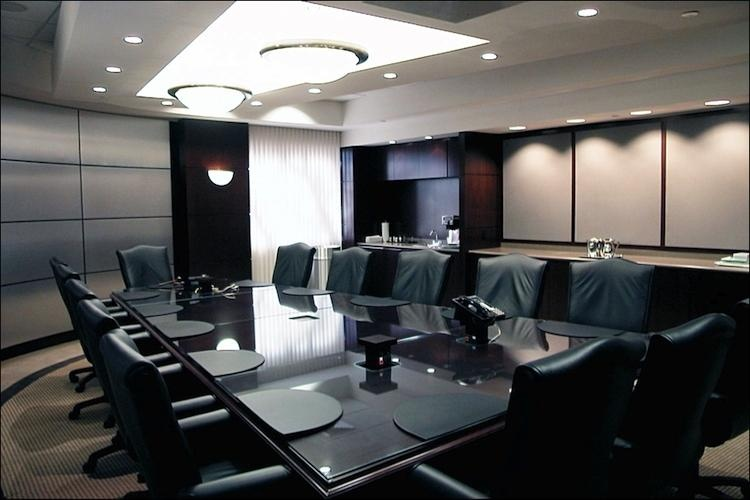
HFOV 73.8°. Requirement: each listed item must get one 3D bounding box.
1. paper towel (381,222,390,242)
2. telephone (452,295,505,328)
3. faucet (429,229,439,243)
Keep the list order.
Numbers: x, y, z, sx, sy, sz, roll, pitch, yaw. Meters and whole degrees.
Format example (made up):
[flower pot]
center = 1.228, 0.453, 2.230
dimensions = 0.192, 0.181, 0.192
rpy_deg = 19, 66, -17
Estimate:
[paper towel]
center = 0.216, -0.367, 9.485
dimensions = 0.172, 0.336, 0.491
rpy_deg = -6, 13, 0
[telephone]
center = 0.696, 0.418, 3.477
dimensions = 0.212, 0.126, 0.283
rpy_deg = -7, 8, -38
[faucet]
center = 1.077, -0.262, 9.007
dimensions = 0.092, 0.217, 0.260
rpy_deg = -11, 14, -20
